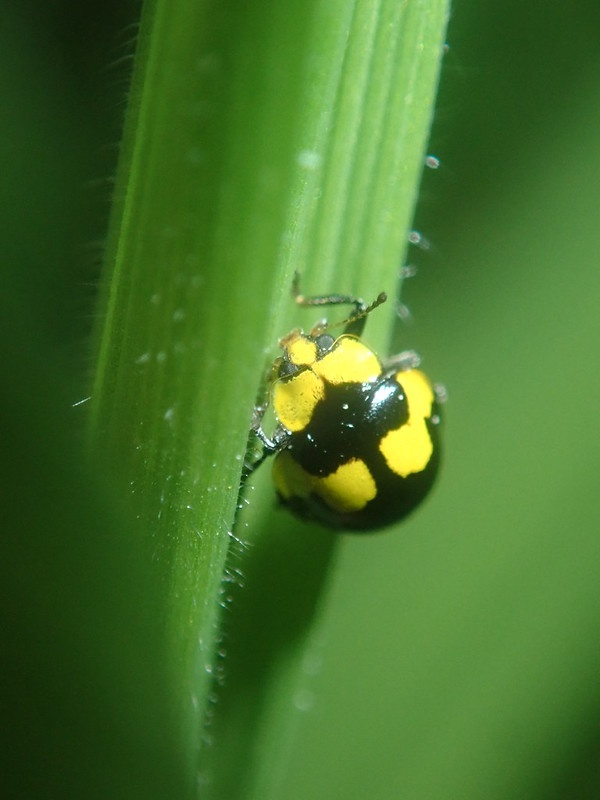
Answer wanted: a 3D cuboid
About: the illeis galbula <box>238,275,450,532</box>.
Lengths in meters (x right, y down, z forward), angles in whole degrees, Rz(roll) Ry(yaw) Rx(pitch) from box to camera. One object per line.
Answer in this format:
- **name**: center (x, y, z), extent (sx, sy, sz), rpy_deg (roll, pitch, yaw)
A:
- **illeis galbula**: center (0.039, 0.018, 0.755), extent (0.187, 0.170, 0.065), rpy_deg (56, 6, 22)
